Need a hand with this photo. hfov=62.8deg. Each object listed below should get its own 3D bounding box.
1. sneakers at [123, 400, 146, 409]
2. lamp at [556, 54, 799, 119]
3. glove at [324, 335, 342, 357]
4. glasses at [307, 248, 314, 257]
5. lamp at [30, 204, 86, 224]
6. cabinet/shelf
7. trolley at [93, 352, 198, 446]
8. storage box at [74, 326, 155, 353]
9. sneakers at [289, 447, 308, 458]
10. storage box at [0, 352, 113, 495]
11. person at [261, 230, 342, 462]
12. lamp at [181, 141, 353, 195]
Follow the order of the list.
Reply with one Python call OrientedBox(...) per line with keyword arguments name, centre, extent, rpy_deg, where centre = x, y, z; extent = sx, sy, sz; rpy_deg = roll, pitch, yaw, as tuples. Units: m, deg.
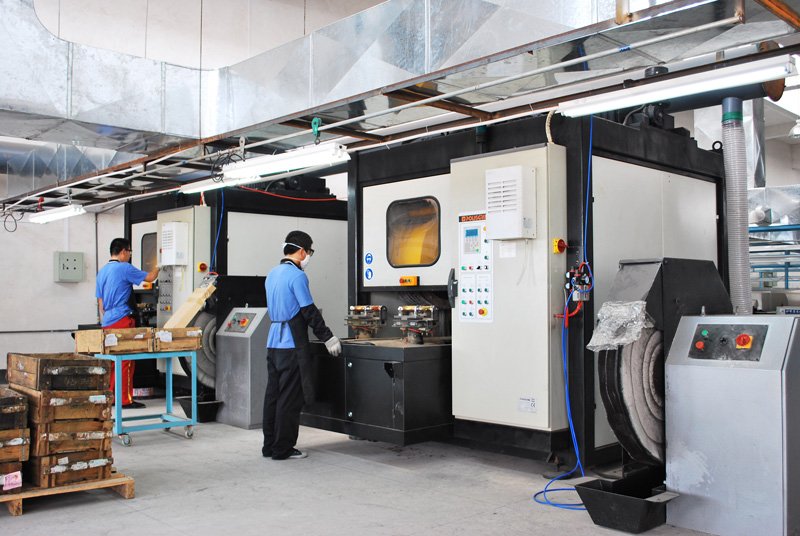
OrientedBox(name="sneakers", centre=(-3.269, 1.694, 8.088), extent=(0.261, 0.101, 0.093), rpy_deg=(-1, 1, -18))
OrientedBox(name="lamp", centre=(1.902, -1.257, 4.559), extent=(1.451, 0.247, 0.181), rpy_deg=(1, 3, 29))
OrientedBox(name="glove", centre=(-0.605, 0.703, 5.968), extent=(0.135, 0.179, 0.066), rpy_deg=(-9, 11, 25))
OrientedBox(name="glasses", centre=(-0.888, -0.150, 6.418), extent=(0.043, 0.082, 0.081), rpy_deg=(-9, 5, 3))
OrientedBox(name="lamp", centre=(-4.980, -0.772, 9.535), extent=(0.809, 0.202, 2.823), rpy_deg=(-2, 3, -29))
OrientedBox(name="cabinet/shelf", centre=(-2.668, 1.336, 6.923), extent=(0.746, 0.852, 0.919), rpy_deg=(-7, -9, 40))
OrientedBox(name="trolley", centre=(-2.675, 1.352, 6.922), extent=(0.891, 0.885, 0.702), rpy_deg=(4, -8, -40))
OrientedBox(name="storage box", centre=(-2.890, 0.741, 6.589), extent=(0.805, 0.273, 0.426), rpy_deg=(-1, 3, -8))
OrientedBox(name="sneakers", centre=(-0.948, 1.724, 6.091), extent=(0.069, 0.078, 0.190), rpy_deg=(3, 3, 43))
OrientedBox(name="storage box", centre=(-2.673, 0.969, 5.419), extent=(0.815, 1.288, 1.390), rpy_deg=(3, -4, -42))
OrientedBox(name="person", centre=(-0.984, 0.710, 6.125), extent=(0.753, 2.102, 0.570), rpy_deg=(2, 4, 43))
OrientedBox(name="lamp", centre=(-1.513, -1.077, 7.020), extent=(0.421, 0.268, 2.767), rpy_deg=(24, -19, -37))
